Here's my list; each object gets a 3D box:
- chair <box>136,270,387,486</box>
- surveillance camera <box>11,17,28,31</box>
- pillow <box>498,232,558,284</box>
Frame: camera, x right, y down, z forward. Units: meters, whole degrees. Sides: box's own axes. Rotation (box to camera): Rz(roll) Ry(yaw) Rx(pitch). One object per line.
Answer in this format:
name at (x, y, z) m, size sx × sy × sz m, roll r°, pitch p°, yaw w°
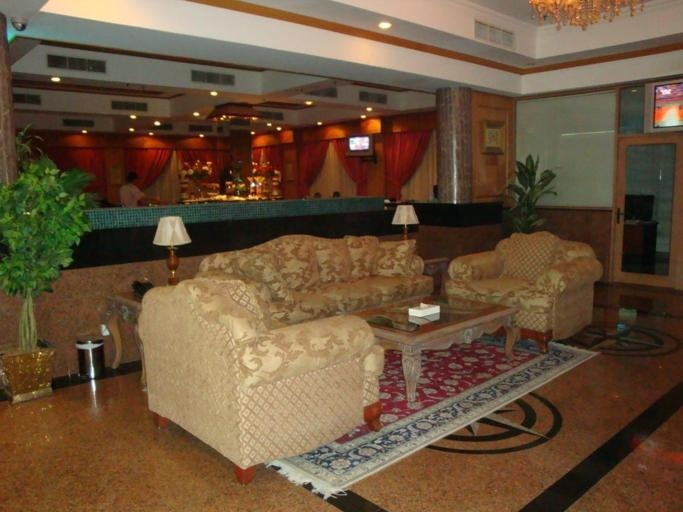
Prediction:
chair at (-0.551, 0.675, 3.894) m, size 1.409 × 1.317 × 1.924 m, roll -16°, pitch 22°, yaw -41°
surveillance camera at (-2.708, -1.909, 4.173) m, size 0.118 × 0.090 × 0.126 m, roll -2°, pitch 1°, yaw -12°
pillow at (2.294, -0.005, 6.093) m, size 0.212 × 0.594 × 0.681 m, roll 20°, pitch -1°, yaw -37°
